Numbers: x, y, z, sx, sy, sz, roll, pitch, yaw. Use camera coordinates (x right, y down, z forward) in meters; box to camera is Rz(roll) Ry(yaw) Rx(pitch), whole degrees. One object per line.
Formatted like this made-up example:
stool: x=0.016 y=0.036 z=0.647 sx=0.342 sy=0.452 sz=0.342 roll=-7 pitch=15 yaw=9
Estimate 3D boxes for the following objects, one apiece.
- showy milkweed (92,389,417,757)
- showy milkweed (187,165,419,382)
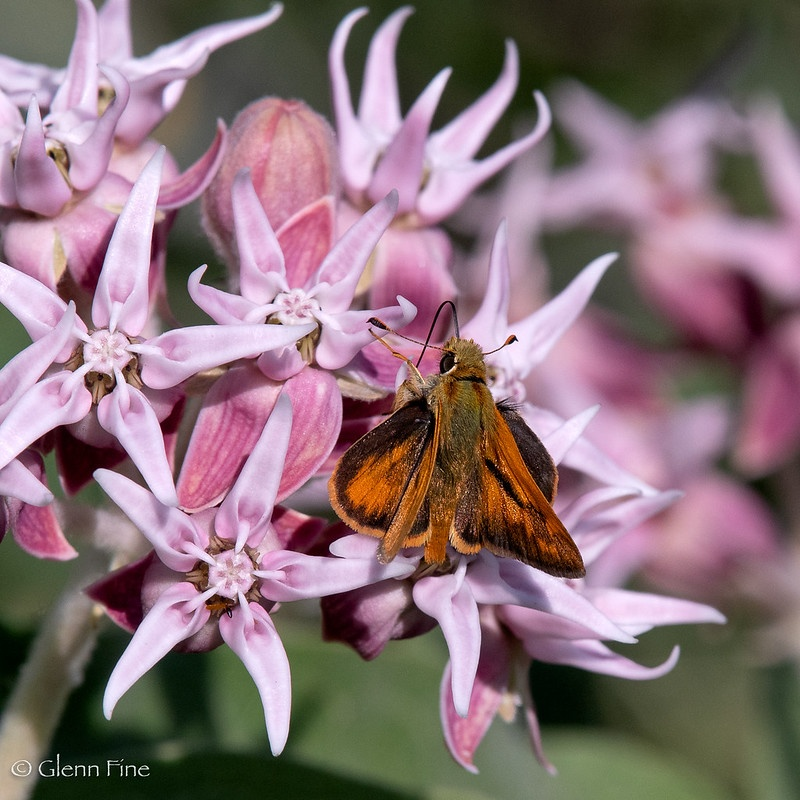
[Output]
showy milkweed: x=-0.191 y=0.199 z=1.331 sx=0.352 sy=0.329 sz=0.185 roll=-44 pitch=-12 yaw=-10
showy milkweed: x=-0.119 y=-0.121 z=1.440 sx=0.197 sy=0.277 sz=0.223 roll=-4 pitch=24 yaw=-11
